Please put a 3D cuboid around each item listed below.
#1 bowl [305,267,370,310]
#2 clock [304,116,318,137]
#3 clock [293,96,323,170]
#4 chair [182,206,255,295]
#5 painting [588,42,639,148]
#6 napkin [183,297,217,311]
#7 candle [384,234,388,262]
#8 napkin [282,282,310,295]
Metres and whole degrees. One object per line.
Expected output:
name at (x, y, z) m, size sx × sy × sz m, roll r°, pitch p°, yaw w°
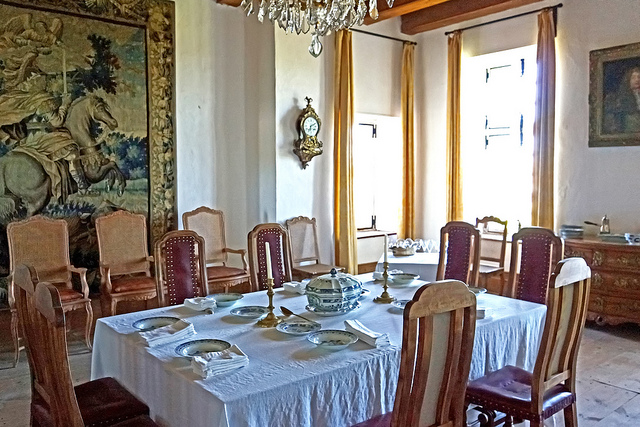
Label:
bowl at (0.107, 0.578, 3.690) m, size 0.459 × 0.285 × 0.499 m, roll -1°, pitch 8°, yaw 0°
clock at (-0.134, -1.190, 6.611) m, size 0.024 × 0.233 × 0.231 m, roll -3°, pitch -23°, yaw 43°
clock at (-0.172, -1.097, 6.655) m, size 0.461 × 0.962 × 0.197 m, roll -10°, pitch 17°, yaw -38°
chair at (-1.290, 0.583, 5.966) m, size 0.752 × 1.239 × 0.778 m, roll -6°, pitch 6°, yaw -37°
painting at (3.657, -1.437, 5.968) m, size 0.631 × 1.227 × 0.248 m, roll 8°, pitch 15°, yaw 30°
napkin at (-0.900, 0.679, 3.668) m, size 0.126 × 0.048 × 0.127 m, roll 1°, pitch 1°, yaw 45°
candle at (0.533, 0.286, 3.925) m, size 0.025 × 0.228 × 0.106 m, roll 4°, pitch 14°, yaw 17°
napkin at (-0.200, 0.621, 4.071) m, size 0.183 × 0.078 × 0.105 m, roll -3°, pitch -3°, yaw 34°
